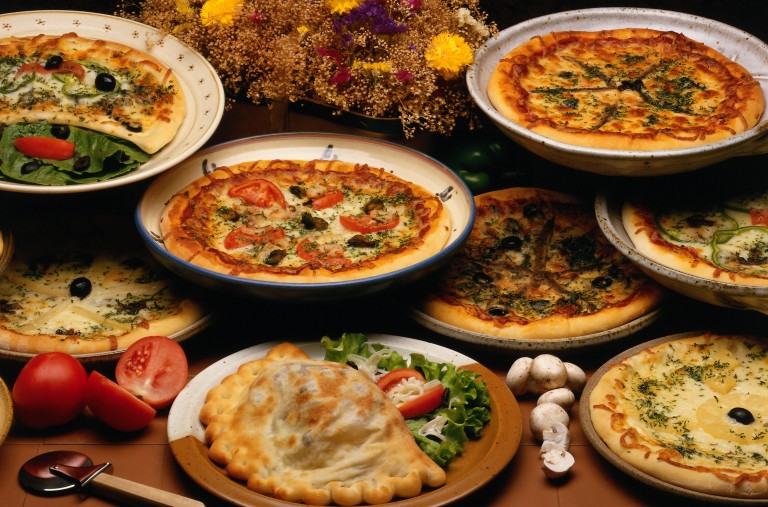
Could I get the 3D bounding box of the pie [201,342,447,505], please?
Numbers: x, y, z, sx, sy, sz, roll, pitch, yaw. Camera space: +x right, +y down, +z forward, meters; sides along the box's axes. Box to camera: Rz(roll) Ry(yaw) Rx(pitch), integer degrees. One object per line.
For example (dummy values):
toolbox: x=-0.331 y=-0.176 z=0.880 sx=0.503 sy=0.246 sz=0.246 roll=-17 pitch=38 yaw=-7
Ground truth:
pie: x=-0.297 y=0.623 z=2.543 sx=0.603 sy=0.208 sz=0.815 roll=-25 pitch=47 yaw=-26

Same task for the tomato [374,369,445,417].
tomato: x=0.116 y=0.525 z=2.768 sx=0.283 sy=0.083 sz=0.226 roll=-8 pitch=7 yaw=5

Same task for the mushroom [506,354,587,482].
mushroom: x=0.650 y=0.654 z=2.847 sx=0.317 sy=0.123 sz=0.441 roll=-11 pitch=50 yaw=-10
